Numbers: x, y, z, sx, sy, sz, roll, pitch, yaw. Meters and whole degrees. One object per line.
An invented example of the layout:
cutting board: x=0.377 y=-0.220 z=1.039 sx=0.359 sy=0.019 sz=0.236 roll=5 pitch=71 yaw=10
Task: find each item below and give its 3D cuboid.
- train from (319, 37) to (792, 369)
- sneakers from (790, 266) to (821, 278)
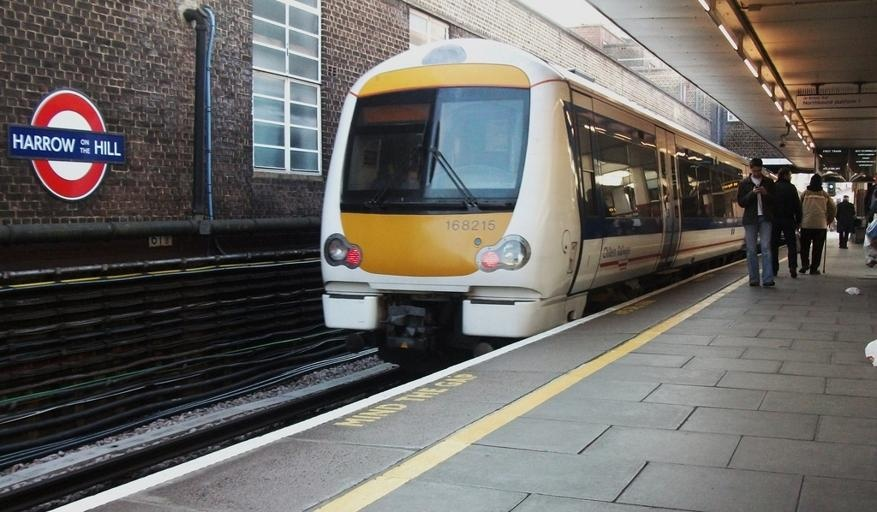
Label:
train: x=1.588 y=-0.839 z=8.407 sx=6.289 sy=4.619 sz=2.283 roll=-6 pitch=8 yaw=-37
sneakers: x=8.781 y=0.384 z=12.797 sx=0.180 sy=0.221 sz=0.543 roll=-5 pitch=-7 yaw=-9
